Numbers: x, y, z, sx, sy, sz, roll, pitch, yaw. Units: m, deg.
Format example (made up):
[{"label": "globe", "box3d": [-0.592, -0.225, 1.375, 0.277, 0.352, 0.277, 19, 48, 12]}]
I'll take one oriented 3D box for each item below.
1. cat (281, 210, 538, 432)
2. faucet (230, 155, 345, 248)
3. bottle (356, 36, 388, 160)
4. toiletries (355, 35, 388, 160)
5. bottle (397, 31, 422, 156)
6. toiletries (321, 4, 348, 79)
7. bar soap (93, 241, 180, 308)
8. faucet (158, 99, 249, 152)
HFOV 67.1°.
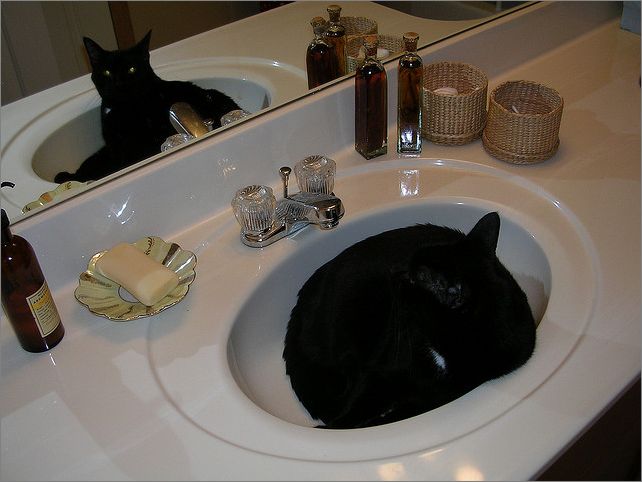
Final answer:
[{"label": "cat", "box3d": [0.133, 0.157, 0.860, 0.312, 0.288, 0.417, 14, 41, 19]}, {"label": "faucet", "box3d": [-0.046, -0.067, 0.853, 0.150, 0.108, 0.214, 32, 53, 31]}, {"label": "bottle", "box3d": [0.100, -0.289, 0.990, 0.066, 0.241, 0.070, -3, 35, 2]}, {"label": "toiletries", "box3d": [0.103, -0.289, 0.988, 0.065, 0.239, 0.059, -21, 37, -25]}, {"label": "bottle", "box3d": [0.188, -0.303, 1.006, 0.057, 0.231, 0.057, -2, 21, 1]}, {"label": "toiletries", "box3d": [0.024, -0.410, 0.980, 0.051, 0.110, 0.035, 31, 47, 31]}, {"label": "bar soap", "box3d": [-0.286, 0.047, 0.752, 0.120, 0.031, 0.075, 32, 54, 20]}, {"label": "faucet", "box3d": [-0.228, -0.211, 0.871, 0.094, 0.038, 0.091, -34, 34, -25]}]
